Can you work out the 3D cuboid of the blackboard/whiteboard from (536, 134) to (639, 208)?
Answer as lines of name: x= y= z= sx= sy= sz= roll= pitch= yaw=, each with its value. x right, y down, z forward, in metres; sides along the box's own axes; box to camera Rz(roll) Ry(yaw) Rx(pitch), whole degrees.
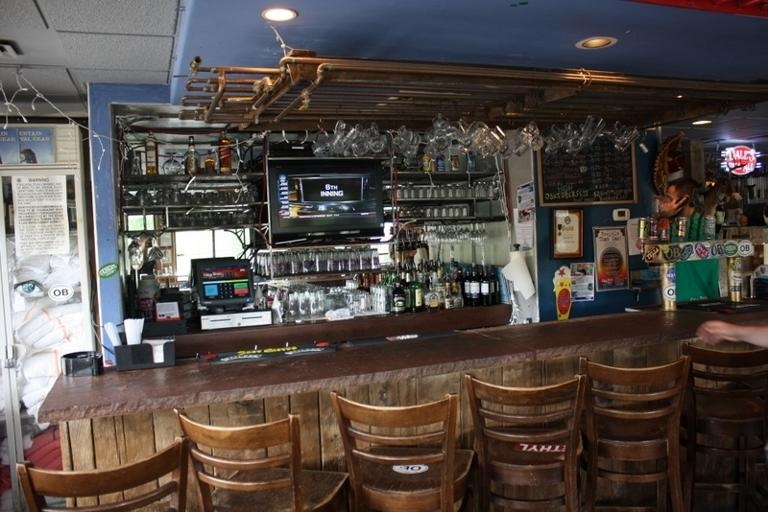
blackboard/whiteboard: x=1.981 y=-0.840 z=5.951 sx=0.847 sy=0.517 sz=0.030 roll=0 pitch=-4 yaw=-12

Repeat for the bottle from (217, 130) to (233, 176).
bottle: x=-1.553 y=-1.000 z=5.862 sx=0.107 sy=0.367 sz=0.131 roll=-3 pitch=15 yaw=-7

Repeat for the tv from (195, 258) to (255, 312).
tv: x=-1.467 y=0.259 z=5.690 sx=0.536 sy=0.415 sz=0.269 roll=-4 pitch=-6 yaw=-1

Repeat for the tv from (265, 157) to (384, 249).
tv: x=-0.627 y=-0.539 z=5.904 sx=1.064 sy=0.641 sz=0.129 roll=-1 pitch=-1 yaw=-15
